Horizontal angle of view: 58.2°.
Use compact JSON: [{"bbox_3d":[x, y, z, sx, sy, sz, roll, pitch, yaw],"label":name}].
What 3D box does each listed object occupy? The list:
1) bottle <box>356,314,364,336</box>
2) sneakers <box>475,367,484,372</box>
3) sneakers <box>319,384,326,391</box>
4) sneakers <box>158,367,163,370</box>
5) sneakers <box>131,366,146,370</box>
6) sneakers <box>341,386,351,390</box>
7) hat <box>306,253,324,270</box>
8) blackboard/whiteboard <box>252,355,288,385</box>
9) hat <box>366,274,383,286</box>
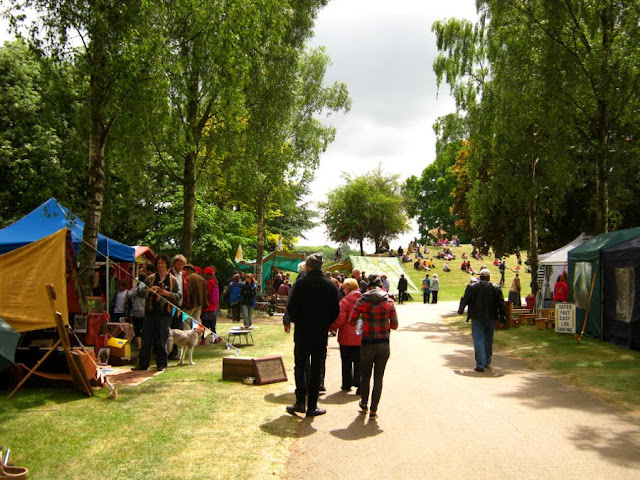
[{"bbox_3d":[0.706,1.550,10.330,0.116,0.299,0.155,-1,-3,4],"label":"bottle"},{"bbox_3d":[3.747,3.059,13.509,0.200,0.098,0.198,-3,-5,16],"label":"sneakers"},{"bbox_3d":[0.048,3.038,11.793,0.151,0.154,0.135,-2,-7,12],"label":"sneakers"},{"bbox_3d":[-3.501,2.828,12.540,0.117,0.055,0.051,-1,-4,-6],"label":"sneakers"},{"bbox_3d":[-3.969,2.808,12.543,0.355,0.090,0.136,-3,-5,18],"label":"sneakers"},{"bbox_3d":[0.536,3.085,11.896,0.196,0.098,0.200,-1,-5,-1],"label":"sneakers"},{"bbox_3d":[-0.096,0.394,10.451,0.232,0.321,0.299,2,19,-4],"label":"hat"},{"bbox_3d":[-1.105,2.801,12.267,0.506,0.426,0.166,3,-19,-44],"label":"blackboard/whiteboard"},{"bbox_3d":[1.020,0.767,10.757,0.254,0.237,0.280,-1,-4,0],"label":"hat"}]
